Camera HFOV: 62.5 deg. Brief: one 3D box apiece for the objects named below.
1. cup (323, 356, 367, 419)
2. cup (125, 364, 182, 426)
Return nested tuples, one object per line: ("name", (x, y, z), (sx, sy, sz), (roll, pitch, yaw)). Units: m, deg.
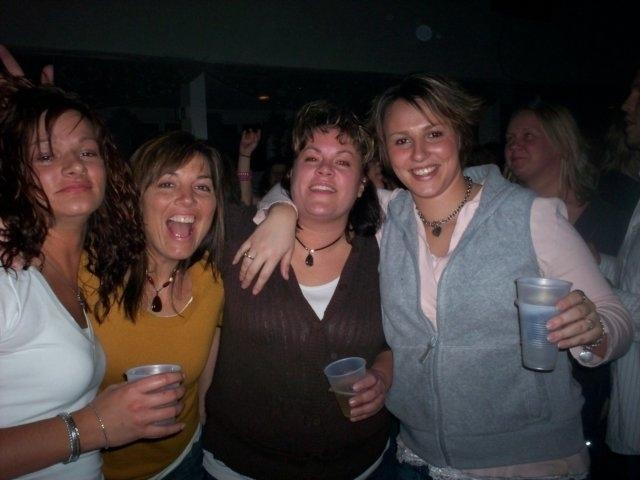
("cup", (0.156, 0.896, 3.228), (0.266, 0.354, 0.196), (0, 9, 13))
("cup", (-0.999, 0.863, 3.142), (0.385, 0.348, 0.341), (0, 1, -22))
